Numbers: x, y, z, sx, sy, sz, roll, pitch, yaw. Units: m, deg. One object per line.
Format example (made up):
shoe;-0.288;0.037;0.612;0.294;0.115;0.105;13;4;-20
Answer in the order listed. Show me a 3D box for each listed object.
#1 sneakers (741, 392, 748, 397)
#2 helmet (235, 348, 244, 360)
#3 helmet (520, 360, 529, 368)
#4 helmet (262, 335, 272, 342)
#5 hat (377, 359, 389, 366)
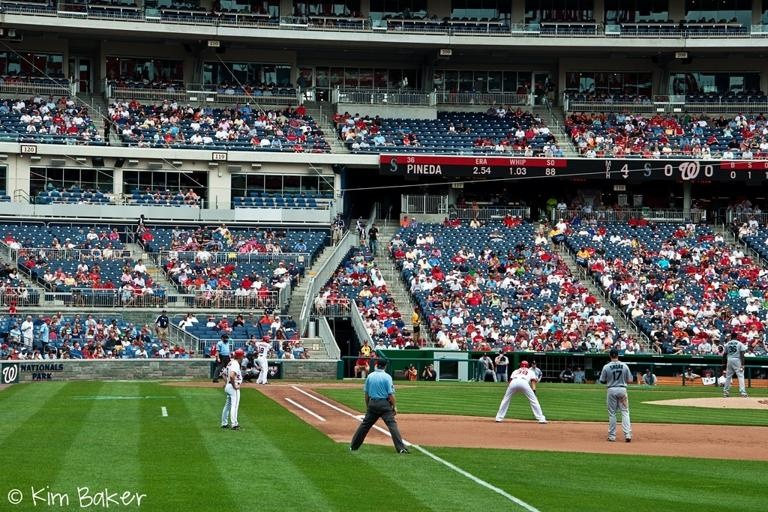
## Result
sneakers;16.521;6.285;70.170;0.189;0.230;0.583;0;3;8
helmet;-5.880;3.940;62.372;0.388;0.362;0.462;0;-5;-26
helmet;5.868;4.454;64.110;0.351;0.282;0.572;1;-9;6
helmet;-5.703;4.025;74.974;0.266;0.340;0.340;22;42;27
hat;-0.052;3.938;57.095;0.294;0.228;0.296;0;-11;3
